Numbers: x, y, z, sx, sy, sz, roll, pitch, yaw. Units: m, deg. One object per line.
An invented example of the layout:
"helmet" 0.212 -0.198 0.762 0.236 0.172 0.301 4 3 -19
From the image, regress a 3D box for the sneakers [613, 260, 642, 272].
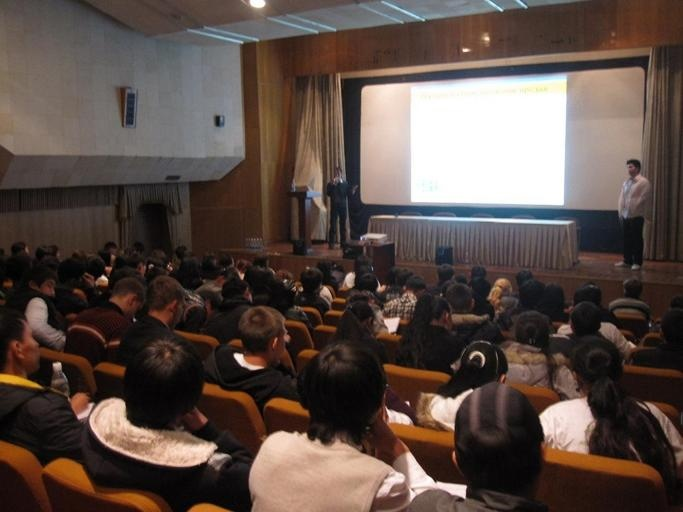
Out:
"sneakers" 5.065 0.201 9.092 0.513 0.256 0.195 8 -2 -5
